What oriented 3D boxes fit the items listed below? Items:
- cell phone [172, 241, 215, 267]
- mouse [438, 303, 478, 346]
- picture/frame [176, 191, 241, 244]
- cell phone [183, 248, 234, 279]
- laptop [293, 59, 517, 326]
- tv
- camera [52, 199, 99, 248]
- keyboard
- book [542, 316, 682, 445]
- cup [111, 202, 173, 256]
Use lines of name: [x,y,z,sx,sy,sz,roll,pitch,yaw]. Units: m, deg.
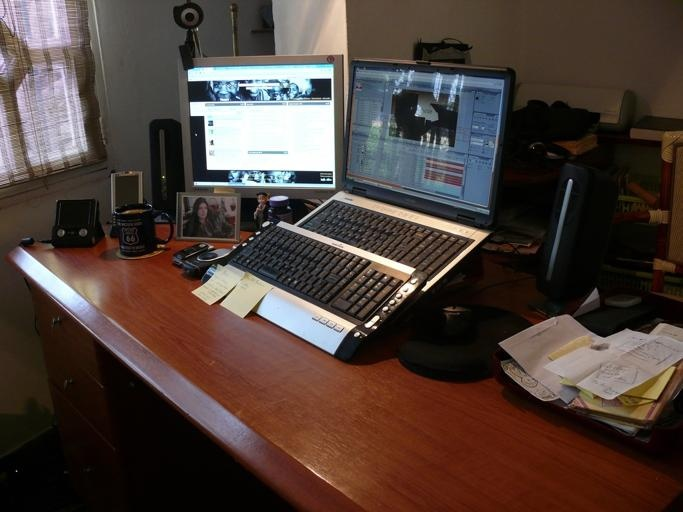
cell phone: [-0.408,-0.012,1.417,0.052,0.022,0.100,11,31,37]
mouse: [0.237,0.138,1.059,0.063,0.020,0.063,-26,29,4]
picture/frame: [-0.383,-0.112,1.505,0.148,0.102,0.016,3,-1,7]
cell phone: [-0.347,0.012,1.359,0.069,0.033,0.126,9,30,33]
laptop: [0.222,-0.196,1.405,0.624,0.487,0.533,26,43,34]
tv: [-0.218,-0.383,1.500,0.465,0.342,0.052,1,17,9]
camera: [-0.784,-0.105,1.558,0.123,0.123,0.117,-1,14,-2]
keyboard: [-0.074,0.053,1.193,0.483,0.090,0.251,22,41,39]
book: [0.434,0.217,0.862,0.237,0.024,0.163,-38,32,-22]
cup: [-0.564,-0.083,1.514,0.183,0.134,0.116,-10,20,-42]
